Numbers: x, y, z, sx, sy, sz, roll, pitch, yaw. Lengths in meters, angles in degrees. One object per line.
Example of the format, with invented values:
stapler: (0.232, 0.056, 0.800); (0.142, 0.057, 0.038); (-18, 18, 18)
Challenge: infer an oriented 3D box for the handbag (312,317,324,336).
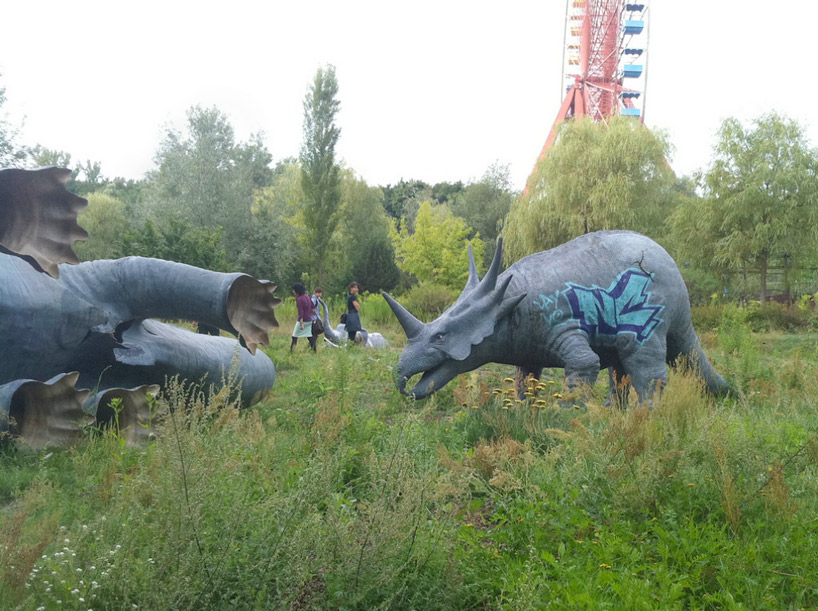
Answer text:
handbag: (-1.750, 0.418, 15.243); (0.171, 0.281, 0.114); (-1, 1, -27)

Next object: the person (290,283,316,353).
person: (-1.987, 0.242, 15.389); (0.474, 1.347, 1.298); (4, -4, -8)
